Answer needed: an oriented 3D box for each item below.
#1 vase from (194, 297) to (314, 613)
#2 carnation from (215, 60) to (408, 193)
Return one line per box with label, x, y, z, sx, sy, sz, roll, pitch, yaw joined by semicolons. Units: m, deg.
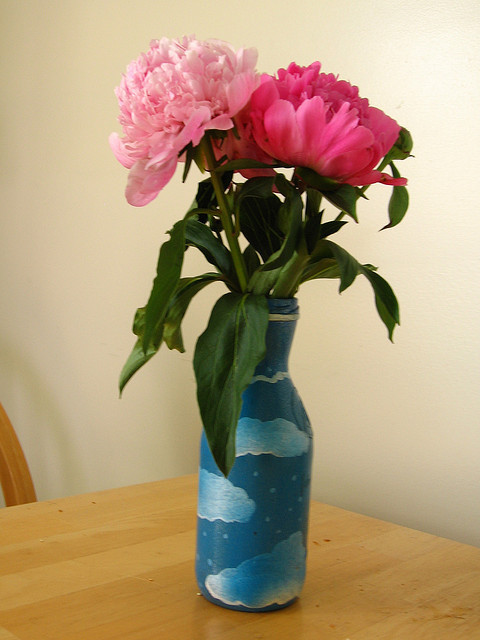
vase;0.020;0.123;0.583;0.119;0.245;0.094;3;3;0
carnation;0.048;-0.146;0.478;0.170;0.084;0.137;14;23;14
